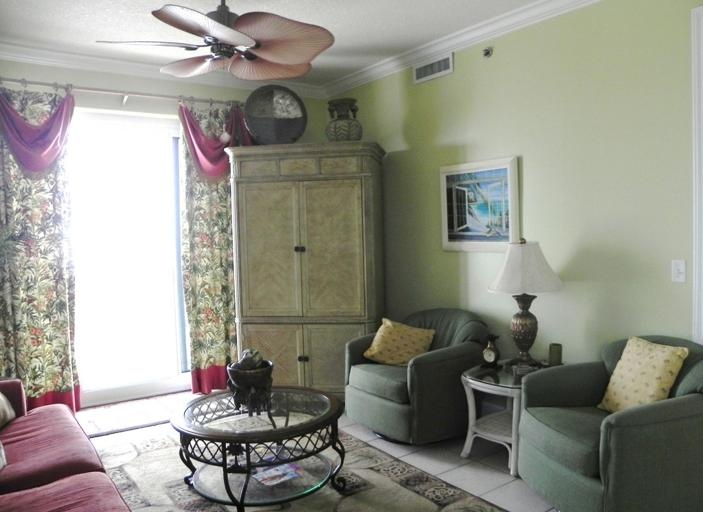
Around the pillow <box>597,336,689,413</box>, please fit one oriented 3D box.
[{"bbox_3d":[1.900,0.777,3.780,0.160,0.488,0.528,34,-19,-24],"label":"pillow"}]

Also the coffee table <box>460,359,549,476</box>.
[{"bbox_3d":[1.040,1.173,4.427,0.825,0.643,0.660,4,-3,-36],"label":"coffee table"}]

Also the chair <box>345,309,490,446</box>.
[{"bbox_3d":[0.626,0.898,5.025,1.133,1.045,1.158,1,-2,-36],"label":"chair"}]

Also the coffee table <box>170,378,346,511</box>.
[{"bbox_3d":[-0.624,1.330,3.964,1.138,0.665,0.795,-2,5,-2],"label":"coffee table"}]

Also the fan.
[{"bbox_3d":[-0.822,-1.371,3.824,1.236,0.208,0.997,-4,5,-19],"label":"fan"}]

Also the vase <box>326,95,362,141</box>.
[{"bbox_3d":[-0.151,-1.319,5.670,0.434,0.390,0.410,-1,1,-10],"label":"vase"}]
